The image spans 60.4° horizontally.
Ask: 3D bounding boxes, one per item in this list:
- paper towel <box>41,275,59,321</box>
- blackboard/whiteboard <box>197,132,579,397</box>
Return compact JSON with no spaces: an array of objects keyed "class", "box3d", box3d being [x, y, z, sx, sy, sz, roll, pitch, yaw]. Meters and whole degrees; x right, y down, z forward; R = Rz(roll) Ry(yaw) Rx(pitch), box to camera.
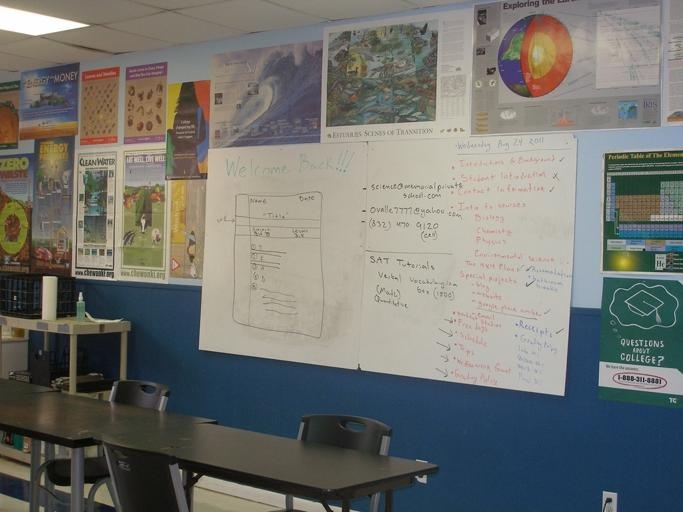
[{"class":"paper towel","box3d":[-2.628,0.380,5.291,0.113,0.387,0.113,1,3,-25]},{"class":"blackboard/whiteboard","box3d":[0.437,0.063,4.356,2.101,1.296,0.033,2,0,30]}]
